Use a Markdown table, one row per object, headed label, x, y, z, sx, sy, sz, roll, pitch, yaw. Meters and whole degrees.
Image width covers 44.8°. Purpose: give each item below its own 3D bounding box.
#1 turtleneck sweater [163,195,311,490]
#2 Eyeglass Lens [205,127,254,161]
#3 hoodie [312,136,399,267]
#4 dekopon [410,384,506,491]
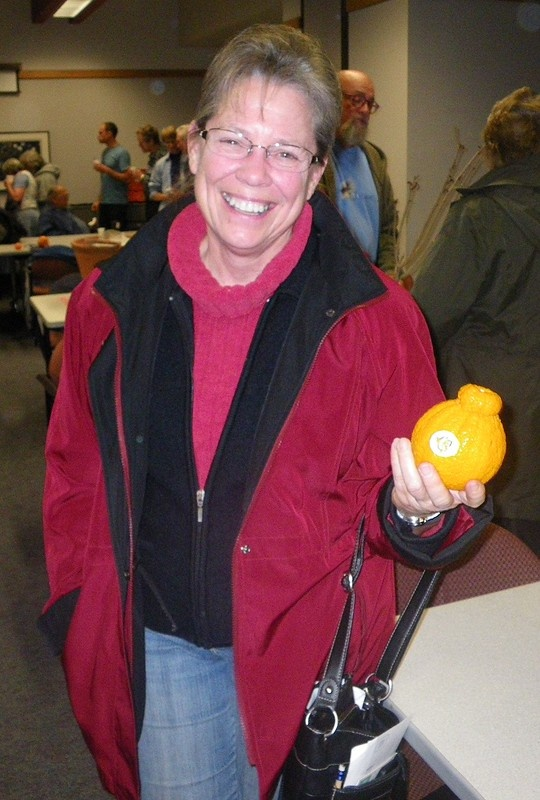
| label | x | y | z | sx | sy | sz | roll | pitch | yaw |
| --- | --- | --- | --- | --- | --- | --- | --- | --- | --- |
| turtleneck sweater | -0.056 | -0.096 | 1.085 | 0.206 | 0.477 | 0.088 | 6 | -5 | 15 |
| Eyeglass Lens | -0.062 | -0.371 | 0.950 | 0.020 | 0.043 | 0.093 | -14 | 23 | -43 |
| hoodie | 0.529 | -1.003 | 3.718 | 0.670 | 0.810 | 0.291 | -3 | 6 | -25 |
| dekopon | 0.218 | 0.055 | 0.763 | 0.106 | 0.133 | 0.107 | 5 | 17 | 10 |
